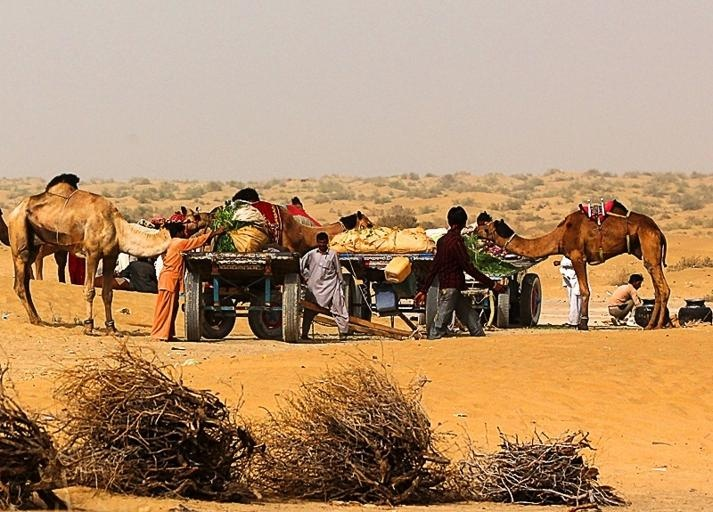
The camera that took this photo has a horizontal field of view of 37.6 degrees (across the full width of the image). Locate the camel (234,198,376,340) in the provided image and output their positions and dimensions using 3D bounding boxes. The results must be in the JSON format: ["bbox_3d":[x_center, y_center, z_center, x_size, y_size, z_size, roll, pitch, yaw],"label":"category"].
[{"bbox_3d":[-1.594,0.198,18.621,2.037,2.506,2.633,7,9,36],"label":"camel"}]

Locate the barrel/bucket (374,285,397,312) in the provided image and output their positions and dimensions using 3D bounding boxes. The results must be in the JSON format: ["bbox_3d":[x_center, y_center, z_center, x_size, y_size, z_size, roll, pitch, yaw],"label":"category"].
[{"bbox_3d":[0.507,0.779,18.227,0.524,0.389,0.489,-7,33,5],"label":"barrel/bucket"}]

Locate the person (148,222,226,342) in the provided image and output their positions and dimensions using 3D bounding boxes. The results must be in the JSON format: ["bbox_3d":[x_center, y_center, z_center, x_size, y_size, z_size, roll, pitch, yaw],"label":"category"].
[{"bbox_3d":[-2.938,0.490,17.914,1.049,2.122,0.981,6,4,-6],"label":"person"}]

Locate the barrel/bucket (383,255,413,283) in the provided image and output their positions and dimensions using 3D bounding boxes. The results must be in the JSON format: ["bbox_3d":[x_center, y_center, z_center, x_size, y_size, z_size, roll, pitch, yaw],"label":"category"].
[{"bbox_3d":[0.704,0.164,17.448,0.403,0.372,0.556,6,45,25],"label":"barrel/bucket"}]

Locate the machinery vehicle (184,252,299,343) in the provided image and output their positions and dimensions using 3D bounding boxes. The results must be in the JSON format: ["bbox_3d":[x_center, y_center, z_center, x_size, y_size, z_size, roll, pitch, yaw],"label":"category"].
[{"bbox_3d":[-1.890,0.652,17.631,1.836,1.637,1.959,0,1,-12],"label":"machinery vehicle"}]

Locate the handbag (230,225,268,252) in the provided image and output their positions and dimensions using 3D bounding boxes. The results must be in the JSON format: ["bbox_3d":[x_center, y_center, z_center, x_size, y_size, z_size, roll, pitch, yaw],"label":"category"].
[{"bbox_3d":[-1.808,-0.302,17.321,0.393,0.396,0.502,5,14,21],"label":"handbag"}]
